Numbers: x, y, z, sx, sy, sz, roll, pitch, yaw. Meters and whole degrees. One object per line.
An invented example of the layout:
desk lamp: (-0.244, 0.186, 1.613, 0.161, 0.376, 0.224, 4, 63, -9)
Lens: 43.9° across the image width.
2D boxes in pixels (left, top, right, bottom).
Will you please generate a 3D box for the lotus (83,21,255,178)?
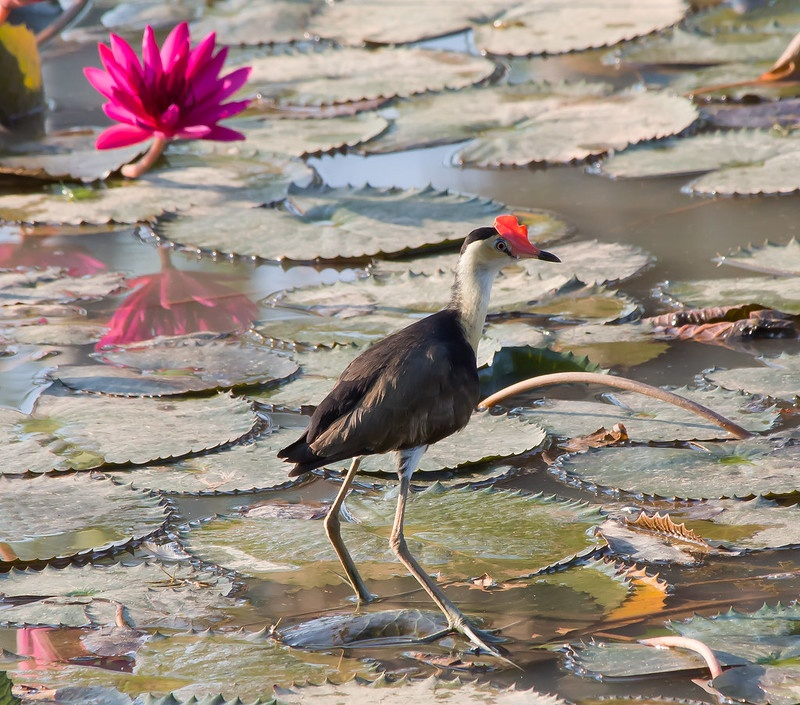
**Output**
lotus: (-1.204, -1.353, 5.018, 0.845, 0.610, 0.371, -10, 21, -3)
